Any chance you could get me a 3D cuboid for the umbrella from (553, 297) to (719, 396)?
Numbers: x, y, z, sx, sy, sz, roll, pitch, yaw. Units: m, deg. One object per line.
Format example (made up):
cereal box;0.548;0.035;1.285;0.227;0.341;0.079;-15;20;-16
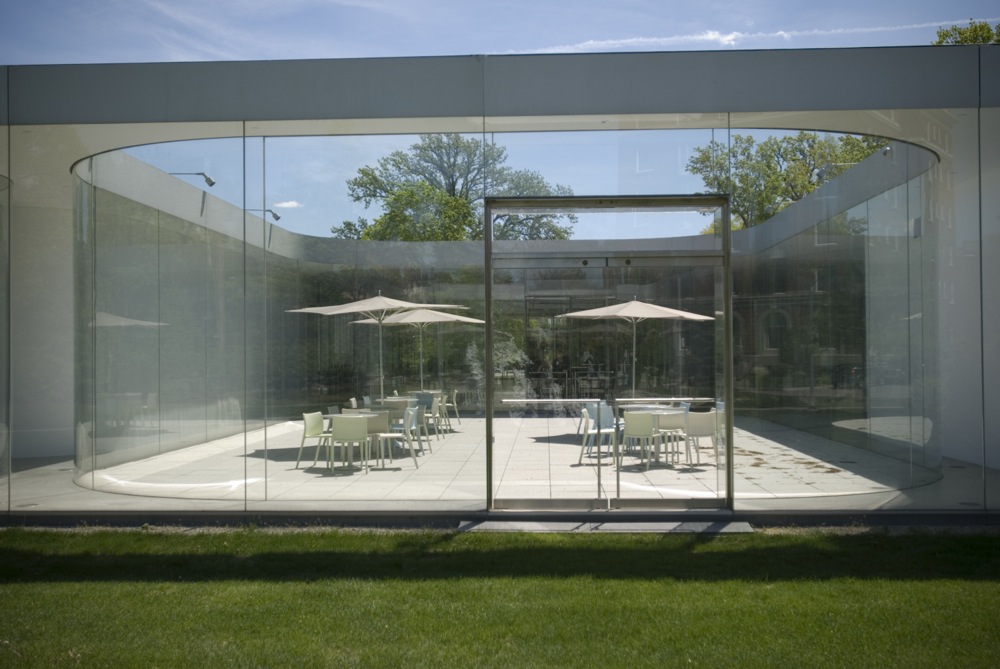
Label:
umbrella;2.087;0.086;15.489;1.694;1.170;1.548;0;-2;-2
